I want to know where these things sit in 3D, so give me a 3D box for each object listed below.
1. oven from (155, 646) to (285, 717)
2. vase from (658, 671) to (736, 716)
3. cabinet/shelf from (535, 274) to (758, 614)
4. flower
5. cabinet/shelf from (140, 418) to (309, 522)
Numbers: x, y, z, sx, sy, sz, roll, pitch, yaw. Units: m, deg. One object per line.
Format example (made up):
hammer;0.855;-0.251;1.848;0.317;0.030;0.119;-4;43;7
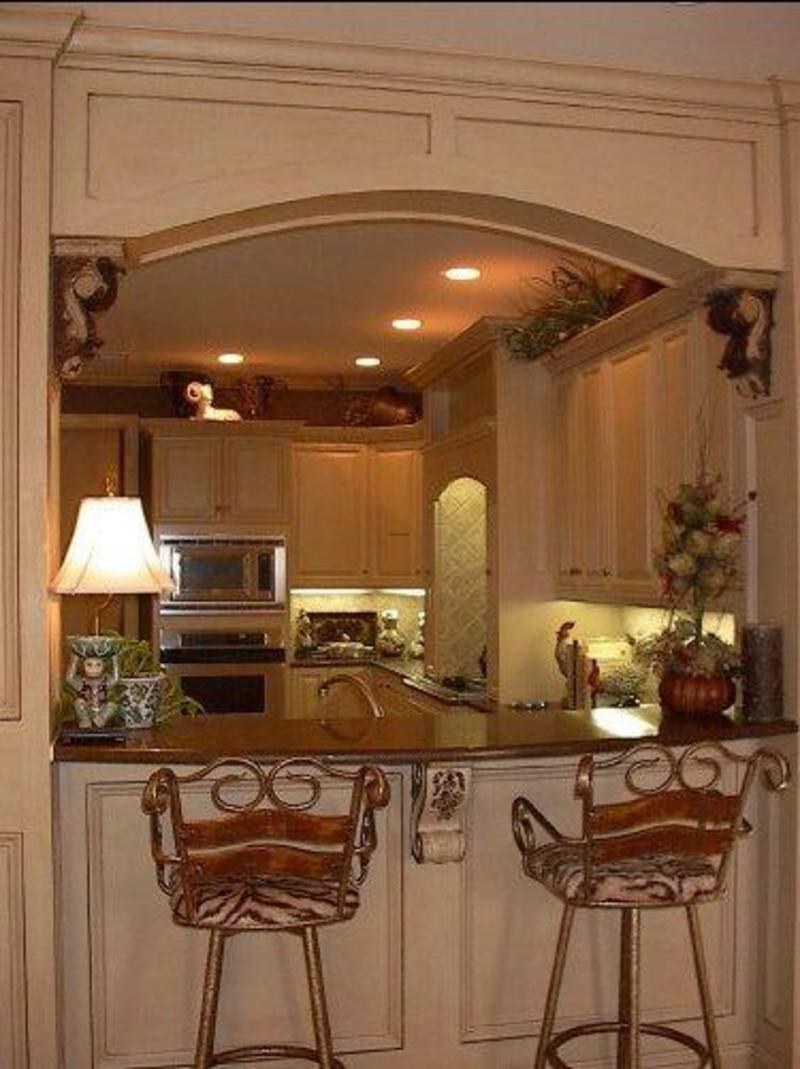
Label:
oven;-1.144;0.819;6.802;0.854;0.475;0.487;5;-10;-38
vase;0.824;0.430;3.305;0.163;0.078;0.151;-1;-2;24
cabinet/shelf;0.834;-0.322;3.979;0.449;1.107;1.420;2;-8;-11
flower;0.870;0.115;3.452;0.280;0.602;0.469;-2;-2;4
cabinet/shelf;-1.004;-0.369;6.718;0.893;0.549;0.307;0;-2;-11
